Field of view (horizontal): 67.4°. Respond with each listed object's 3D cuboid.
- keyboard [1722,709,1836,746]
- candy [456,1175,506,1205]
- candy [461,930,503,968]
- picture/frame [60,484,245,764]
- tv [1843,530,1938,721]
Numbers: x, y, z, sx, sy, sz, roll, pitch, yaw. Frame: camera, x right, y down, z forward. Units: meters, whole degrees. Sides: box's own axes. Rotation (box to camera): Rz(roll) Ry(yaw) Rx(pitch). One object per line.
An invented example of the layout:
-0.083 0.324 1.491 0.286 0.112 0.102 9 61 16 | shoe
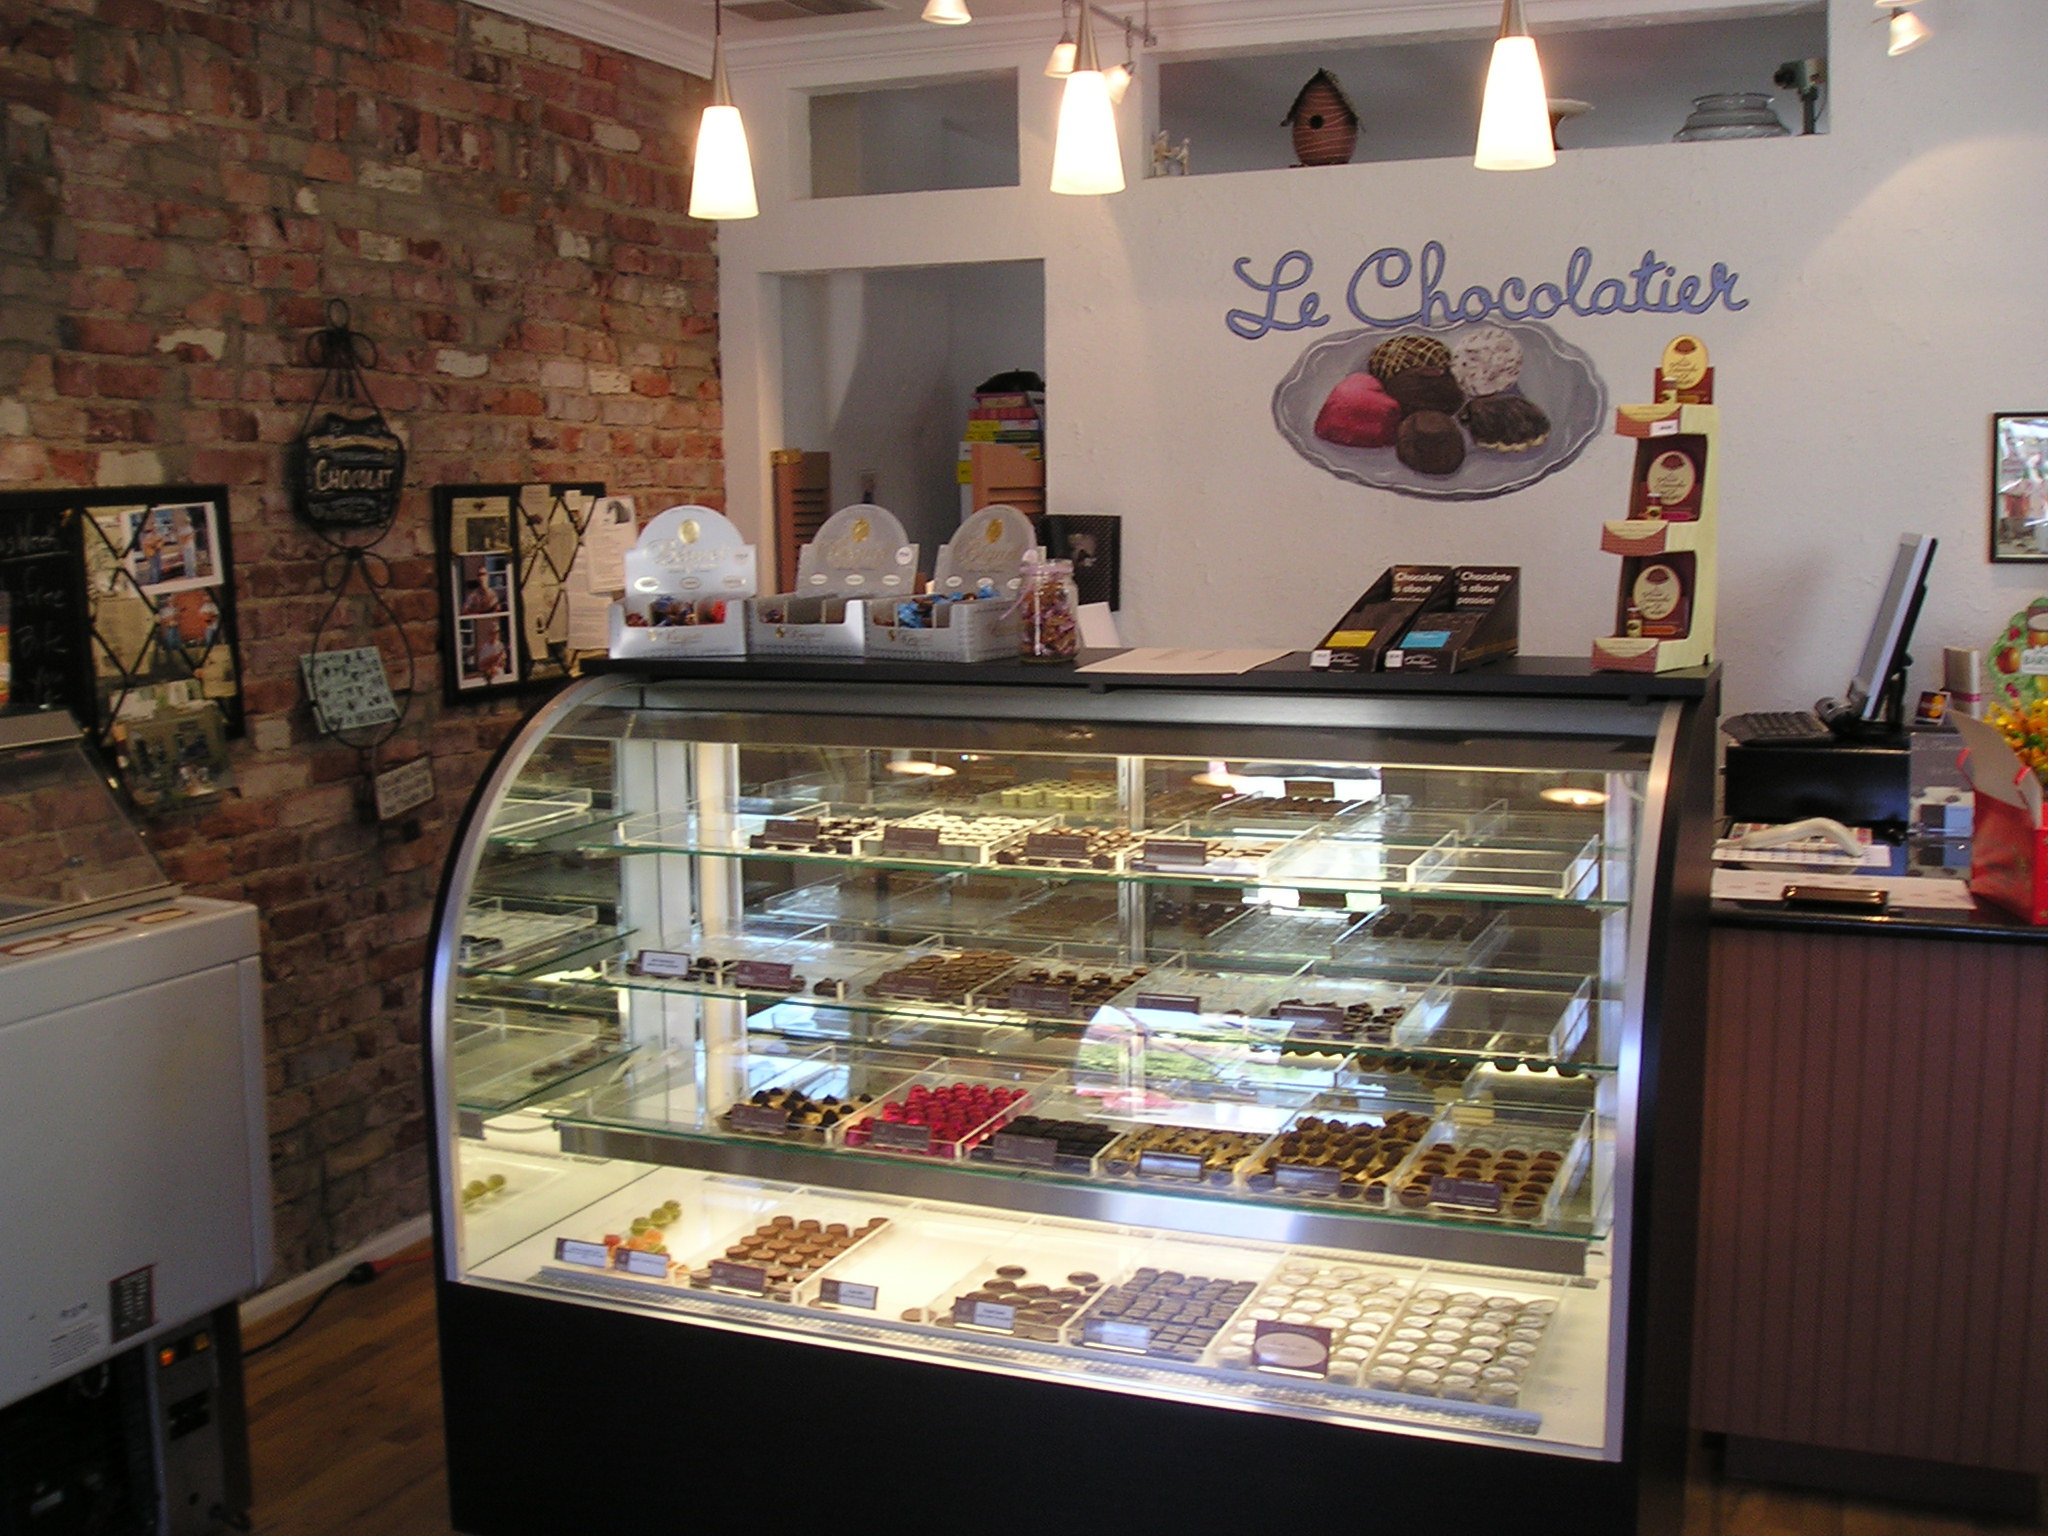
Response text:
2.172 -0.118 4.445 0.270 0.057 0.370 3 12 21 | keyboard
-1.021 0.791 2.900 0.079 0.026 0.035 -6 -29 -5 | candy
-0.998 0.326 2.829 0.051 0.064 0.088 2 5 26 | candy
-2.023 -0.337 3.600 0.538 0.573 0.034 -2 3 24 | picture/frame
2.399 -0.387 4.282 0.157 0.523 0.409 5 14 26 | tv
